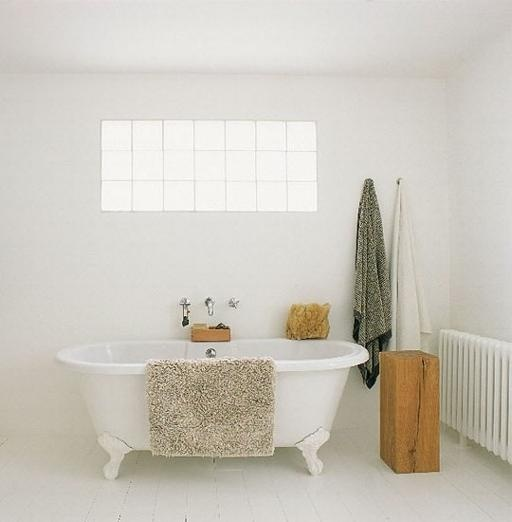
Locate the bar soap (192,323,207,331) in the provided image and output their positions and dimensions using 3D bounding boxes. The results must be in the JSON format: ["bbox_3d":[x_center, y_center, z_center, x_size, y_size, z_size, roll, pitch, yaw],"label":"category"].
[{"bbox_3d":[-0.349,0.406,3.255,0.095,0.021,0.097,0,5,-2],"label":"bar soap"}]

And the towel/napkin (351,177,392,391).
[{"bbox_3d":[0.743,0.149,3.334,0.239,1.355,0.341,1,5,11],"label":"towel/napkin"}]

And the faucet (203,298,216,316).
[{"bbox_3d":[-0.292,0.290,3.314,0.065,0.121,0.079,-1,5,-7],"label":"faucet"}]

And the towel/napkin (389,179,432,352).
[{"bbox_3d":[0.980,0.015,3.367,0.262,1.081,0.259,1,5,5],"label":"towel/napkin"}]

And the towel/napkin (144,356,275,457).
[{"bbox_3d":[-0.223,0.709,2.569,0.440,0.360,0.053,0,1,0],"label":"towel/napkin"}]
